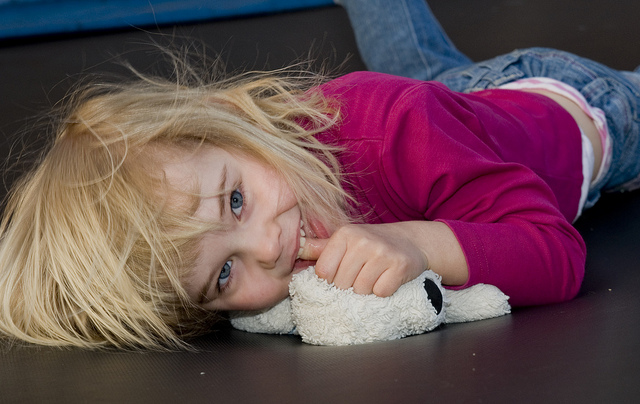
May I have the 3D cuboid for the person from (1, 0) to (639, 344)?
[{"bbox_3d":[0.109,-0.156,1.383,1.157,0.475,0.862,-28,26,-38],"label":"person"}]
